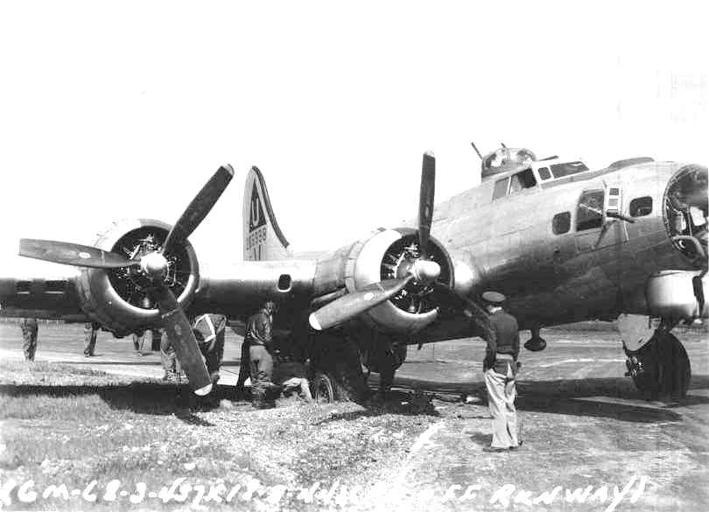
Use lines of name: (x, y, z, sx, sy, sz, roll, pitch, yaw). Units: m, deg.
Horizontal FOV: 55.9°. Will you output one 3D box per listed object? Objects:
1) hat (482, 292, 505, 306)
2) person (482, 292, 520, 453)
hat: (1.999, 0.616, 9.734, 0.310, 0.088, 0.318, 7, 9, 41)
person: (2.081, 1.569, 9.410, 0.555, 2.023, 1.320, 2, 2, 12)
